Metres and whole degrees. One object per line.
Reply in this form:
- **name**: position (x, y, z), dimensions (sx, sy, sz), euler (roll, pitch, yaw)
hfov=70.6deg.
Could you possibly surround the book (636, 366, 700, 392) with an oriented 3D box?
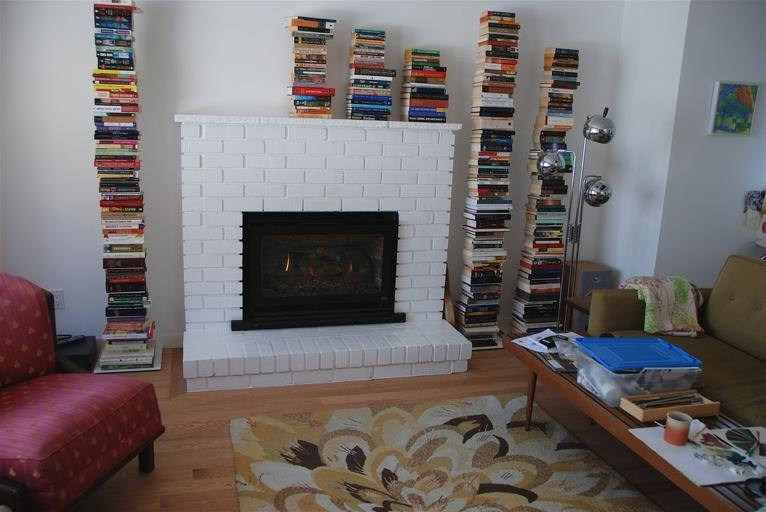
- **book**: position (1.433, 0.623, 2.748), dimensions (0.272, 0.085, 0.164), euler (-2, 7, -10)

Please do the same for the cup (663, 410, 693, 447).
- **cup**: position (1.325, 0.797, 2.502), dimensions (0.136, 0.101, 0.150), euler (2, 4, 0)

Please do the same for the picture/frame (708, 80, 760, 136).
- **picture/frame**: position (2.661, -1.163, 4.162), dimensions (0.578, 0.402, 0.084), euler (2, 13, -20)
